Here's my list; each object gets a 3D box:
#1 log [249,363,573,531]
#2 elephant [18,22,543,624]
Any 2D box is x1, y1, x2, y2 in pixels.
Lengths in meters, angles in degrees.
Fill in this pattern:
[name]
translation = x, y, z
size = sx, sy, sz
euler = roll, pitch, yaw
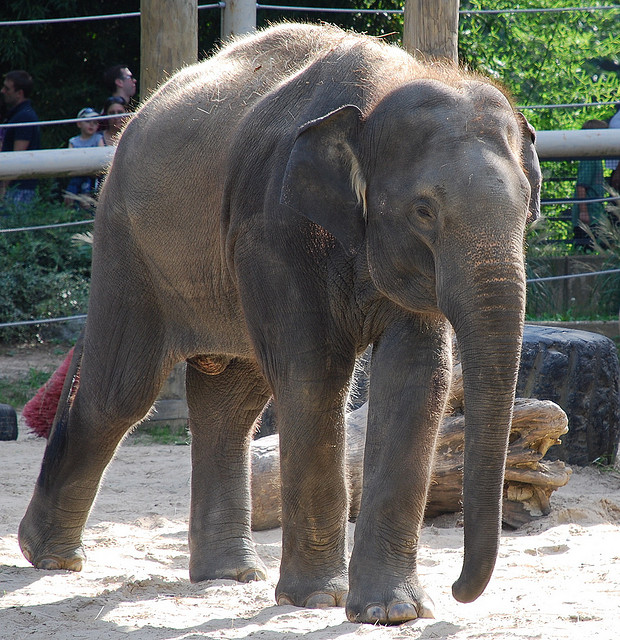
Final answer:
[log]
translation = 0.214, 0.473, 4.674
size = 1.129, 0.497, 0.321
euler = -5, 18, -4
[elephant]
translation = -0.097, 0.029, 3.846
size = 1.536, 1.404, 0.606
euler = 1, 0, 40
